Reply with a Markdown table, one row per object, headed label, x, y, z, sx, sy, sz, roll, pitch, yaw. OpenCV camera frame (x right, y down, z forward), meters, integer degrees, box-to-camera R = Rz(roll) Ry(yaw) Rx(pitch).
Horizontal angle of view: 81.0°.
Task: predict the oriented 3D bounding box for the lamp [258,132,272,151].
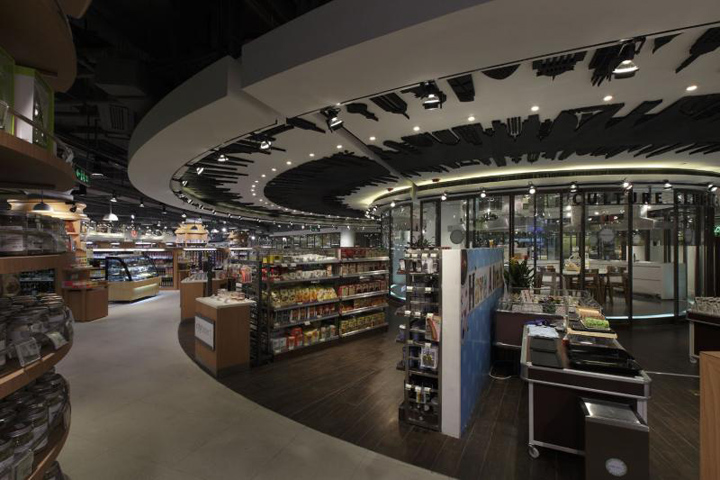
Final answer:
| label | x | y | z | sx | sy | sz | roll | pitch | yaw |
| --- | --- | --- | --- | --- | --- | --- | --- | --- | --- |
| lamp | -1.710 | -1.775 | 7.679 | 0.249 | 0.350 | 0.121 | 3 | -15 | -26 |

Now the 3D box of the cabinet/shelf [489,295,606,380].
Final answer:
| label | x | y | z | sx | sy | sz | roll | pitch | yaw |
| --- | --- | --- | --- | --- | --- | --- | --- | --- | --- |
| cabinet/shelf | 3.465 | 1.673 | 7.991 | 1.699 | 1.131 | 1.763 | 0 | -1 | 10 |

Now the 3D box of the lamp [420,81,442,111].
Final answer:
| label | x | y | z | sx | sy | sz | roll | pitch | yaw |
| --- | --- | --- | --- | --- | --- | --- | --- | --- | --- |
| lamp | 1.005 | -2.035 | 6.080 | 0.298 | 0.413 | 0.212 | 0 | 7 | 16 |

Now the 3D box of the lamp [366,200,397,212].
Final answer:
| label | x | y | z | sx | sy | sz | roll | pitch | yaw |
| --- | --- | --- | --- | --- | --- | --- | --- | --- | --- |
| lamp | 0.720 | -1.194 | 14.841 | 0.241 | 0.115 | 1.618 | 22 | -6 | -12 |

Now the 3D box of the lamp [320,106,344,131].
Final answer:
| label | x | y | z | sx | sy | sz | roll | pitch | yaw |
| --- | --- | --- | --- | --- | --- | --- | --- | --- | --- |
| lamp | -0.461 | -1.958 | 6.782 | 0.249 | 0.381 | 0.212 | -23 | 10 | -2 |
